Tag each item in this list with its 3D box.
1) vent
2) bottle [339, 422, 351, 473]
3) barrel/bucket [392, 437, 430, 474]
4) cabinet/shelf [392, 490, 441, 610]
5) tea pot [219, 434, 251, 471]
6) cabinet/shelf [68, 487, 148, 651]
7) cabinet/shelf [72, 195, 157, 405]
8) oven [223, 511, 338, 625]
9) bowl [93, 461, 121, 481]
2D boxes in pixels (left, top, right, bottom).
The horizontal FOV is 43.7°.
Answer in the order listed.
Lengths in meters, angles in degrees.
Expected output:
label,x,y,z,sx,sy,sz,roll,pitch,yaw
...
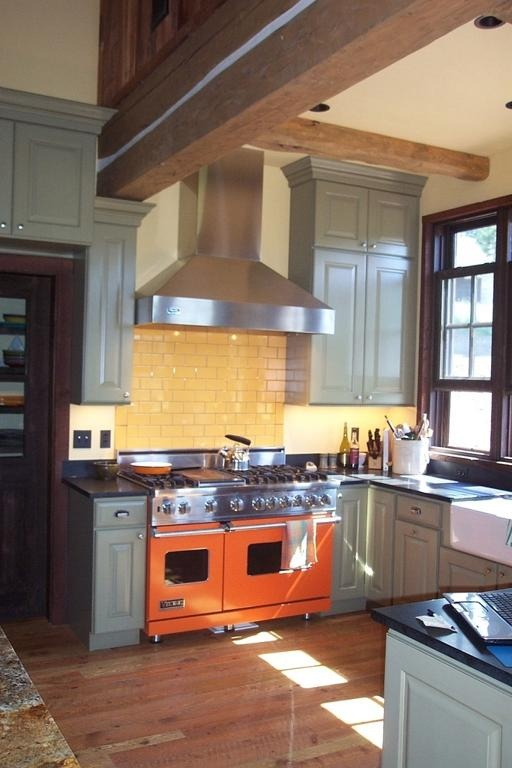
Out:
label,x,y,z,sx,sy,sz,roll,pitch,yaw
vent,-0.232,-0.860,4.021,1.273,1.095,1.164,0,3,-19
bottle,0.644,0.435,4.600,0.080,0.307,0.142,1,2,8
barrel/bucket,1.032,0.474,4.291,0.242,0.237,0.231,0,-1,0
cabinet/shelf,1.000,0.967,3.760,0.363,0.600,0.368,5,-4,-23
tea pot,-0.135,0.445,4.106,0.161,0.232,0.235,3,-4,-28
cabinet/shelf,-0.824,0.970,3.505,0.301,0.858,0.503,0,2,-29
cabinet/shelf,-0.857,-0.444,3.675,0.377,1.125,0.284,-2,12,-35
oven,0.083,1.073,3.819,0.644,0.543,0.368,0,-6,-18
bowl,-0.848,0.502,3.702,0.110,0.068,0.110,0,-6,0
